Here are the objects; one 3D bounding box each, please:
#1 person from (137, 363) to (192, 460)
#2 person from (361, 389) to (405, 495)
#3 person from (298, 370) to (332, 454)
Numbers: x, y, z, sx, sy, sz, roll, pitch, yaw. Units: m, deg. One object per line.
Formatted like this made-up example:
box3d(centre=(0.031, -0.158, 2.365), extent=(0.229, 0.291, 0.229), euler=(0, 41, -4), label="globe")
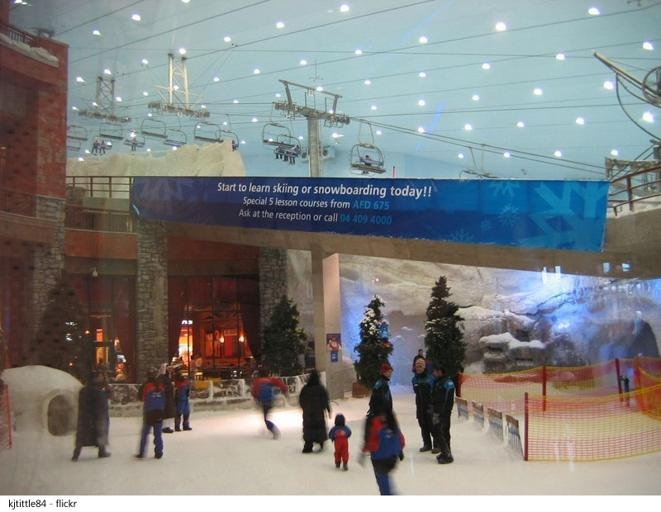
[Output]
box3d(centre=(-4.112, 3.773, 14.436), extent=(0.681, 2.144, 1.586), euler=(0, -5, -15), label="person")
box3d(centre=(0.914, 3.436, 10.866), extent=(0.717, 1.622, 0.445), euler=(-1, -4, 3), label="person")
box3d(centre=(-0.359, 3.676, 14.533), extent=(0.714, 1.957, 0.586), euler=(-1, -4, -3), label="person")
